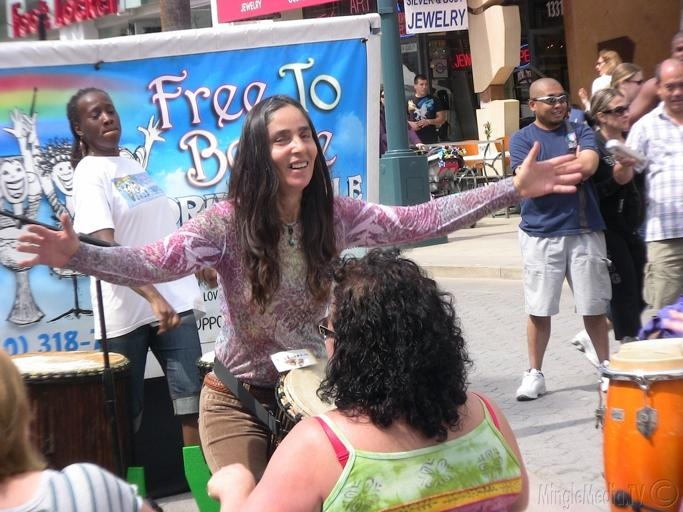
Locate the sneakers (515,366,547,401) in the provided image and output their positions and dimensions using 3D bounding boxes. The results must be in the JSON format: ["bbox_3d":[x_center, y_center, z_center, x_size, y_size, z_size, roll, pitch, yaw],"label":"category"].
[{"bbox_3d":[1.733,1.154,5.598,0.171,0.220,0.456,-4,3,40],"label":"sneakers"}]

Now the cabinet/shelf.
[{"bbox_3d":[3.908,-2.036,16.837,1.808,2.105,2.253,-19,3,33],"label":"cabinet/shelf"}]

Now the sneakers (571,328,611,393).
[{"bbox_3d":[2.195,0.920,5.406,0.202,0.604,0.256,-24,-5,-20],"label":"sneakers"}]

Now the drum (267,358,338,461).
[{"bbox_3d":[-0.175,0.634,2.486,0.329,0.334,0.345,8,31,-2],"label":"drum"}]

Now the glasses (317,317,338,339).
[{"bbox_3d":[-0.047,0.244,2.036,0.066,0.068,0.021,-4,32,12],"label":"glasses"}]
